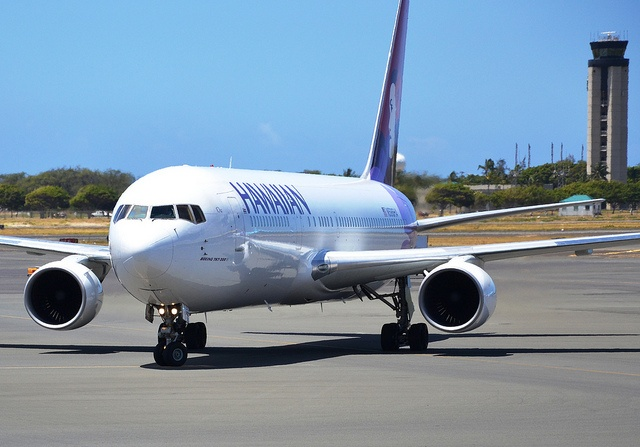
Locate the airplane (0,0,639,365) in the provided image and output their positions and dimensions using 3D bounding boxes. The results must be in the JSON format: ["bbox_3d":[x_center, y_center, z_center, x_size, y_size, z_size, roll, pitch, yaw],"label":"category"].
[{"bbox_3d":[-0.086,0.701,21.410,14.317,6.435,11.222,-1,-4,26],"label":"airplane"}]
